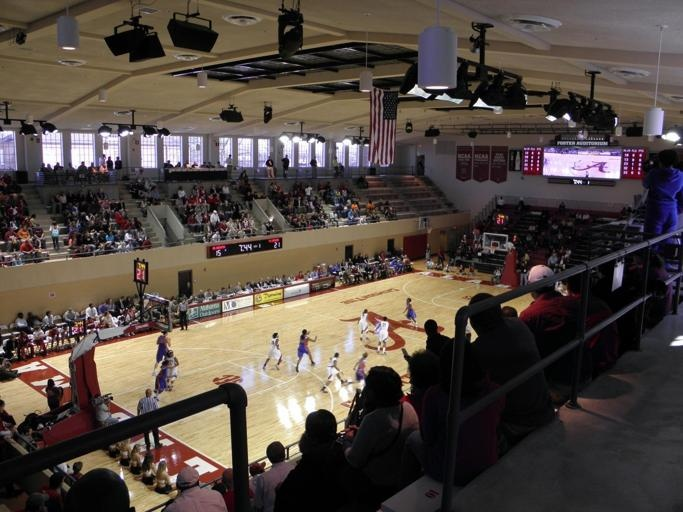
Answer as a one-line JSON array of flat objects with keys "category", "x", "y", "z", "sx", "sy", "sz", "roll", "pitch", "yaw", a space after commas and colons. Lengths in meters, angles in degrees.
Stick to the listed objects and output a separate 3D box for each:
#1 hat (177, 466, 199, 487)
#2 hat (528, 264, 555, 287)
[{"category": "hat", "x": -1.497, "y": 2.159, "z": 4.846, "sx": 0.168, "sy": 0.145, "sz": 0.255, "roll": 1, "pitch": 10, "yaw": -2}, {"category": "hat", "x": 1.988, "y": 0.181, "z": 4.902, "sx": 0.326, "sy": 0.175, "sz": 0.233, "roll": -26, "pitch": 20, "yaw": -39}]
